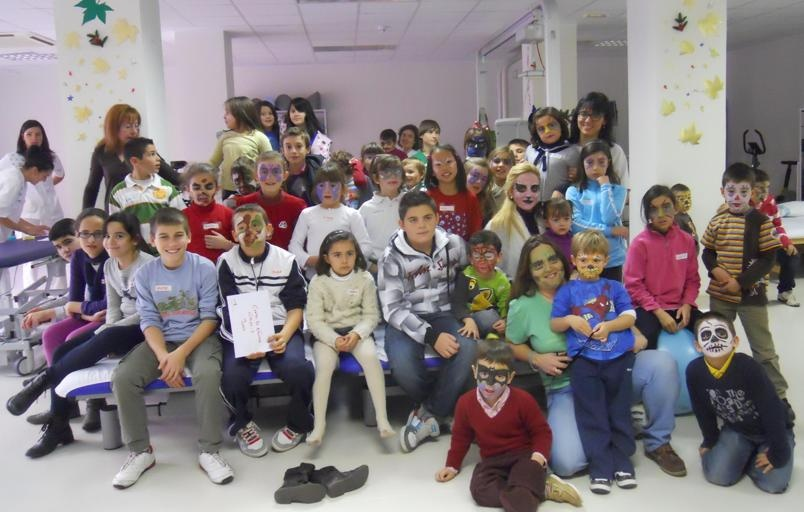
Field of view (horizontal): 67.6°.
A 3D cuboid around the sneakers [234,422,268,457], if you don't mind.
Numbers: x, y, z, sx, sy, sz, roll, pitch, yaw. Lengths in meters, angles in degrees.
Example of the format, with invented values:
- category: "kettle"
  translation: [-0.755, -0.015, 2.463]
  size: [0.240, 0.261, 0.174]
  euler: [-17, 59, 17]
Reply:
- category: "sneakers"
  translation: [-1.085, 1.280, 4.272]
  size: [0.144, 0.148, 0.372]
  euler: [-19, 23, -29]

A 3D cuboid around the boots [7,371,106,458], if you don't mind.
- category: "boots"
  translation: [-2.478, 1.129, 4.466]
  size: [0.538, 0.732, 0.598]
  euler: [0, -2, 17]

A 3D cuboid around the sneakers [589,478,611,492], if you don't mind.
- category: "sneakers"
  translation: [1.265, 1.451, 3.798]
  size: [0.121, 0.091, 0.054]
  euler: [-2, 9, 13]

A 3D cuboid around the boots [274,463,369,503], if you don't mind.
- category: "boots"
  translation: [-0.514, 1.455, 3.874]
  size: [0.406, 0.259, 0.157]
  euler: [-8, 51, -15]

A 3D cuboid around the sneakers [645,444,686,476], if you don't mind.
- category: "sneakers"
  translation: [1.791, 1.344, 4.025]
  size: [0.152, 0.142, 0.398]
  euler: [-7, -1, -7]

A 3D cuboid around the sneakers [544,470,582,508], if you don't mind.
- category: "sneakers"
  translation: [0.984, 1.438, 3.765]
  size: [0.299, 0.102, 0.132]
  euler: [16, 16, 42]

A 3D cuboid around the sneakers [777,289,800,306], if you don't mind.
- category: "sneakers"
  translation: [4.125, 0.454, 6.330]
  size: [0.098, 0.120, 0.271]
  euler: [-1, 3, 0]

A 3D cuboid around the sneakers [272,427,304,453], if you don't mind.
- category: "sneakers"
  translation: [-0.806, 1.306, 4.313]
  size: [0.107, 0.106, 0.278]
  euler: [30, 6, 21]

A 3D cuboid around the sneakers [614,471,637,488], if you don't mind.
- category: "sneakers"
  translation: [1.436, 1.433, 3.810]
  size: [0.074, 0.054, 0.145]
  euler: [-2, 14, -4]

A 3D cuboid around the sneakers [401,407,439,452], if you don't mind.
- category: "sneakers"
  translation: [0.103, 1.202, 4.306]
  size: [0.351, 0.149, 0.135]
  euler: [14, -10, -24]

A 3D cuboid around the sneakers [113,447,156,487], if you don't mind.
- category: "sneakers"
  translation: [-1.794, 1.409, 4.049]
  size: [0.123, 0.129, 0.337]
  euler: [0, 9, 19]
